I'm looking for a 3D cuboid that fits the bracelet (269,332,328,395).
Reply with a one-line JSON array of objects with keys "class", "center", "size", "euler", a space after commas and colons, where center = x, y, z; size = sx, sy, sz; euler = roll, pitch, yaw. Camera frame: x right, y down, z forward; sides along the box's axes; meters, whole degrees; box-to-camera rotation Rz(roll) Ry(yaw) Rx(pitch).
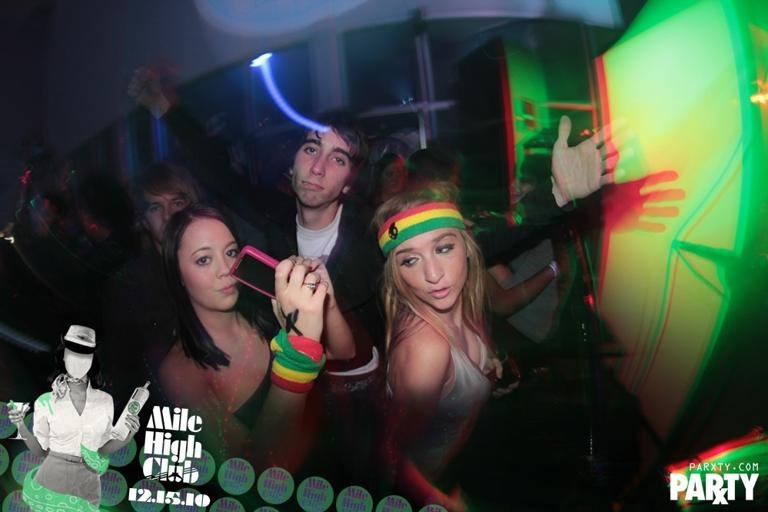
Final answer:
[{"class": "bracelet", "center": [-0.504, 0.684, 3.465], "size": [0.373, 0.376, 0.318], "euler": [4, -3, 3]}]
